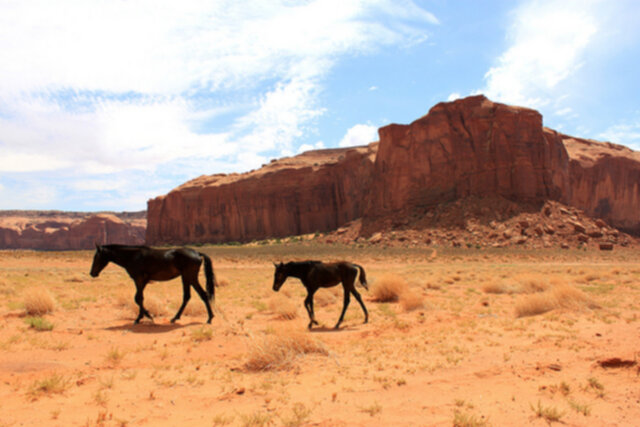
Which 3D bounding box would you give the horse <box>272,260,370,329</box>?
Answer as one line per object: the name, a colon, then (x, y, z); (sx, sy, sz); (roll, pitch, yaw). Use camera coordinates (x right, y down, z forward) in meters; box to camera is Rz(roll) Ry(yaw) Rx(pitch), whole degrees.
horse: (0.104, 2.917, 17.675); (3.867, 2.451, 0.950); (1, -5, -20)
